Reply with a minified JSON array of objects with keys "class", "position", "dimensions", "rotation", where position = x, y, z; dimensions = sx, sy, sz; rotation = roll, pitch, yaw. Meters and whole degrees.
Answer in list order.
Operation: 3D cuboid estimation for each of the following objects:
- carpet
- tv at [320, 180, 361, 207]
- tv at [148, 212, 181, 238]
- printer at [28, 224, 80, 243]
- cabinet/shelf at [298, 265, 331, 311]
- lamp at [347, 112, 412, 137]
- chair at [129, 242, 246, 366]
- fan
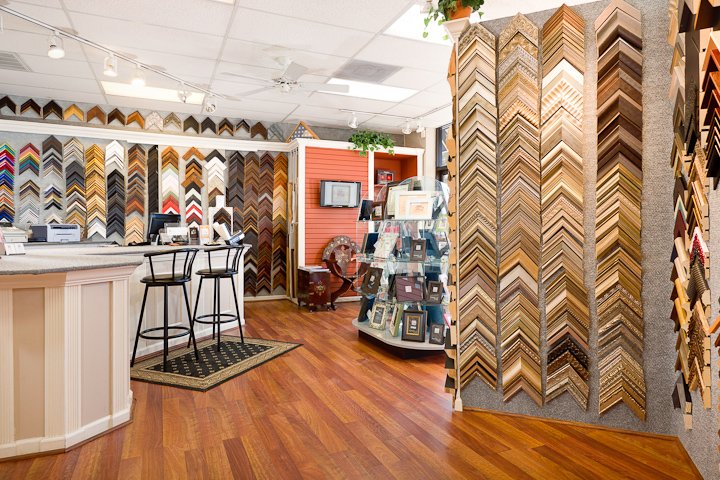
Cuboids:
[{"class":"carpet","position":[-1.626,1.292,5.780],"dimensions":[1.207,0.188,1.561],"rotation":[9,17,31]},{"class":"tv","position":[-0.357,-0.755,8.674],"dimensions":[0.581,0.346,0.055],"rotation":[-1,2,-25]},{"class":"tv","position":[-2.508,-0.179,6.788],"dimensions":[0.043,0.233,0.323],"rotation":[14,13,38]},{"class":"printer","position":[-4.204,-0.071,7.284],"dimensions":[0.616,0.282,0.327],"rotation":[-9,17,-30]},{"class":"cabinet/shelf","position":[-0.713,0.722,8.214],"dimensions":[0.407,0.674,0.608],"rotation":[-6,16,-21]},{"class":"lamp","position":[0.406,-2.017,9.326],"dimensions":[0.675,0.151,0.430],"rotation":[3,-1,-38]},{"class":"chair","position":[-2.011,0.737,6.039],"dimensions":[0.577,1.123,1.280],"rotation":[2,2,22]},{"class":"fan","position":[-0.930,-2.164,7.092],"dimensions":[1.001,0.418,1.239],"rotation":[-6,16,-21]}]
